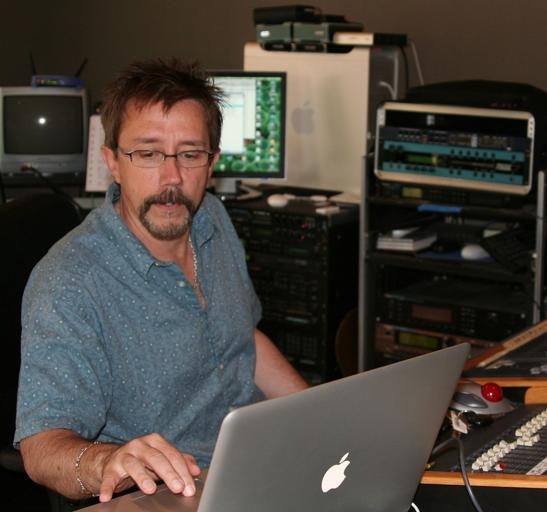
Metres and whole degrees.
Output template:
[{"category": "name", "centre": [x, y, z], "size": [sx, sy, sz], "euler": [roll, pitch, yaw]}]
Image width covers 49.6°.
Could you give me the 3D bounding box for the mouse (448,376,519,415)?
[{"category": "mouse", "centre": [0.427, 0.288, 1.235], "size": [0.157, 0.051, 0.161], "euler": [1, 5, 38]}]

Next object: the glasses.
[{"category": "glasses", "centre": [-0.226, -0.237, 1.314], "size": [0.207, 0.046, 0.125], "euler": [-5, 21, -23]}]

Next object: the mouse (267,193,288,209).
[{"category": "mouse", "centre": [0.018, -0.236, 2.525], "size": [0.071, 0.036, 0.070], "euler": [1, 15, 0]}]

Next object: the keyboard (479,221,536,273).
[{"category": "keyboard", "centre": [0.851, -0.016, 2.087], "size": [0.175, 0.044, 0.171], "euler": [-27, 48, -19]}]

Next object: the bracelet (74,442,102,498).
[{"category": "bracelet", "centre": [-0.284, 0.331, 0.931], "size": [0.017, 0.066, 0.064], "euler": [-14, -25, 30]}]

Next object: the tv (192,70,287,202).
[{"category": "tv", "centre": [-0.163, -0.552, 2.737], "size": [0.562, 0.599, 0.198], "euler": [8, 14, 31]}]
